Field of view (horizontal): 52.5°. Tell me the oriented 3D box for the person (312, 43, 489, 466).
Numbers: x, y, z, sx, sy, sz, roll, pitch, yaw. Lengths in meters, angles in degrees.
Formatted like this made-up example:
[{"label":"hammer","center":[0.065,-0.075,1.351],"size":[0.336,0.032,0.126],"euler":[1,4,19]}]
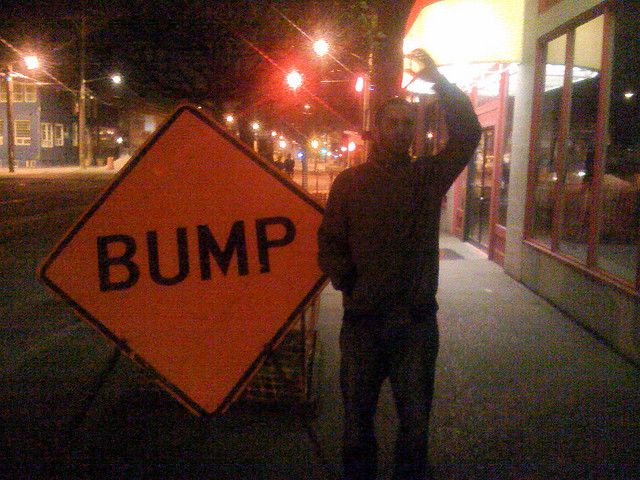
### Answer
[{"label":"person","center":[0.570,0.129,4.842],"size":[1.057,3.055,0.697],"euler":[-7,11,-33]}]
